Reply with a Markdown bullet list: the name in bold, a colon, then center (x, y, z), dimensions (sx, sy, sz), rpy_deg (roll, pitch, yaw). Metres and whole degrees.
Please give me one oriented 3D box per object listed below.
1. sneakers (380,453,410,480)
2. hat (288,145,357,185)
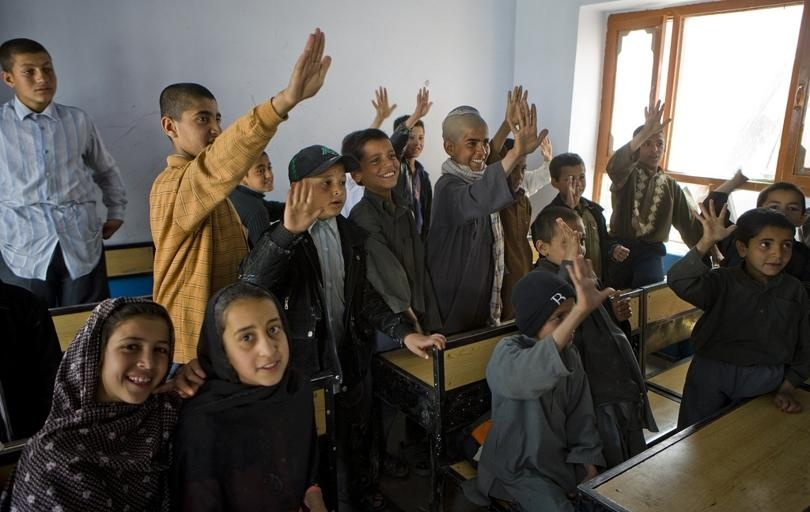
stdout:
- **sneakers**: center (-0.063, 1.182, 3.266), dimensions (0.113, 0.036, 0.114), rpy_deg (18, 25, 31)
- **hat**: center (-0.369, -0.412, 2.617), dimensions (0.262, 0.134, 0.189), rpy_deg (-24, 7, 14)
